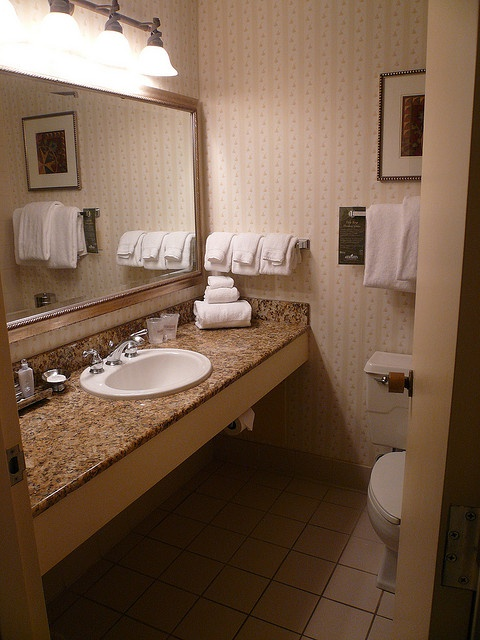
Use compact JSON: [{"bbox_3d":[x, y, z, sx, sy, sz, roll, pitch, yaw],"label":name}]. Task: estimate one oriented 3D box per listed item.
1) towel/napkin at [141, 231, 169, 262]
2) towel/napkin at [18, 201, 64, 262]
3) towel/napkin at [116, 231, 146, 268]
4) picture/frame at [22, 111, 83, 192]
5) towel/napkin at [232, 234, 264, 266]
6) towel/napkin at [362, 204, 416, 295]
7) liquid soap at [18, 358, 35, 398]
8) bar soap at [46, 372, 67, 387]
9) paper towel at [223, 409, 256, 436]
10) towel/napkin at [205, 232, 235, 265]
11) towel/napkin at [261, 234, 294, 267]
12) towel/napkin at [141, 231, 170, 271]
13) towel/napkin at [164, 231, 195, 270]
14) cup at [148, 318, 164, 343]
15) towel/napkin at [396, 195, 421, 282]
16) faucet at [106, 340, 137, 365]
[{"bbox_3d":[-0.404,-0.345,2.147,0.104,0.135,0.034,-9,-17,43],"label":"towel/napkin"},{"bbox_3d":[-0.689,-0.300,1.578,0.127,0.182,0.054,-2,3,-3],"label":"towel/napkin"},{"bbox_3d":[-0.457,-0.305,2.016,0.098,0.178,0.129,2,7,5],"label":"towel/napkin"},{"bbox_3d":[-0.652,-0.582,1.602,0.180,0.270,0.018,-20,51,-33],"label":"picture/frame"},{"bbox_3d":[0.036,-0.355,2.317,0.148,0.157,0.108,0,10,3],"label":"towel/napkin"},{"bbox_3d":[0.650,-0.299,1.980,0.267,0.358,0.090,6,8,39],"label":"towel/napkin"},{"bbox_3d":[-0.691,0.182,1.497,0.044,0.109,0.111,-5,12,-28],"label":"liquid soap"},{"bbox_3d":[-0.626,0.199,1.582,0.064,0.026,0.076,-7,13,-30],"label":"bar soap"},{"bbox_3d":[-0.005,0.450,2.100,0.099,0.166,0.156,7,-3,8],"label":"paper towel"},{"bbox_3d":[-0.108,-0.375,2.379,0.130,0.171,0.049,3,-6,43],"label":"towel/napkin"},{"bbox_3d":[0.170,-0.352,2.231,0.121,0.164,0.049,6,-4,32],"label":"towel/napkin"},{"bbox_3d":[-0.396,-0.318,2.164,0.043,0.166,0.126,5,-7,-44],"label":"towel/napkin"},{"bbox_3d":[-0.315,-0.350,2.324,0.144,0.190,0.053,-6,10,-44],"label":"towel/napkin"},{"bbox_3d":[-0.375,0.048,2.127,0.068,0.141,0.098,0,7,8],"label":"cup"},{"bbox_3d":[0.705,-0.341,1.939,0.068,0.337,0.044,1,9,8],"label":"towel/napkin"},{"bbox_3d":[-0.454,0.122,1.823,0.052,0.081,0.188,8,18,13],"label":"faucet"}]
